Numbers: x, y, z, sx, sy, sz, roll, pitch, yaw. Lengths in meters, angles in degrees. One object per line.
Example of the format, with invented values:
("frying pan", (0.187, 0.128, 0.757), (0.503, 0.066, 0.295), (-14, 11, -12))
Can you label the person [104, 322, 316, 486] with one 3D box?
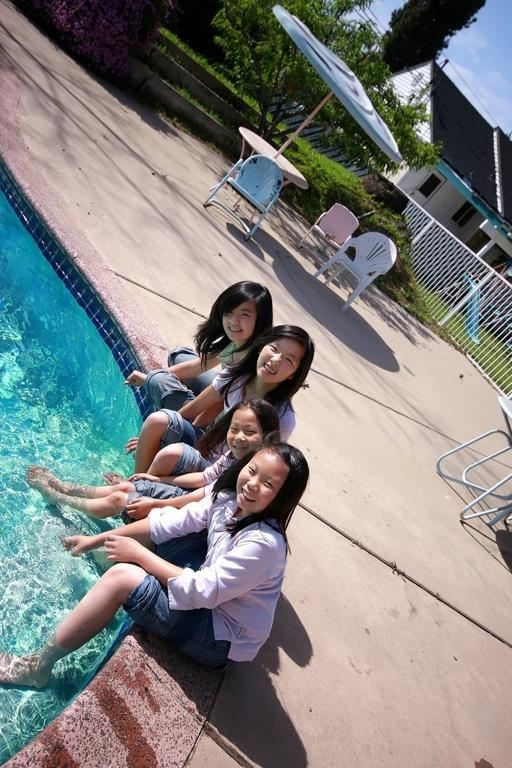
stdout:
("person", (-0.309, 0.034, 2.786), (0.631, 1.113, 0.388), (12, 28, -35))

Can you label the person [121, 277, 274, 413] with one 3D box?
("person", (-0.277, -0.153, 2.927), (0.700, 0.759, 0.518), (4, 21, -33))
